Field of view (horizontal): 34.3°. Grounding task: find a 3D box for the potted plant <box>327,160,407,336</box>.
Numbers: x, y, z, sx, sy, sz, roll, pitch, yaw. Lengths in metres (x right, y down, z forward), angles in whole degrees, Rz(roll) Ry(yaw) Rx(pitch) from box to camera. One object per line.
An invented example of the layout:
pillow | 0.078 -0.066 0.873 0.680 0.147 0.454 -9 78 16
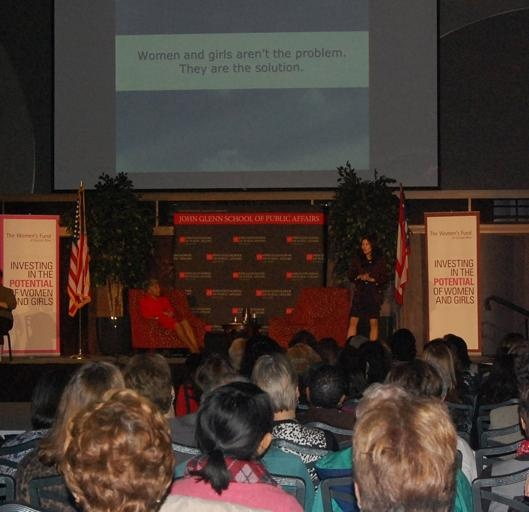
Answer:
potted plant | 1.215 -0.193 11.392 0.780 2.226 0.888 -6 37 -6

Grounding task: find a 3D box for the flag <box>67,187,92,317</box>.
flag | -2.258 -0.085 10.353 0.247 1.595 0.735 0 -3 -12

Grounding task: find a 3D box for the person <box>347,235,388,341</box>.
person | 1.256 0.366 10.399 0.503 1.236 0.392 -1 -3 5

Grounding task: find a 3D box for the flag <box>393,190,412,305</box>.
flag | 1.669 -0.142 10.360 0.168 1.444 0.520 -1 -3 10
